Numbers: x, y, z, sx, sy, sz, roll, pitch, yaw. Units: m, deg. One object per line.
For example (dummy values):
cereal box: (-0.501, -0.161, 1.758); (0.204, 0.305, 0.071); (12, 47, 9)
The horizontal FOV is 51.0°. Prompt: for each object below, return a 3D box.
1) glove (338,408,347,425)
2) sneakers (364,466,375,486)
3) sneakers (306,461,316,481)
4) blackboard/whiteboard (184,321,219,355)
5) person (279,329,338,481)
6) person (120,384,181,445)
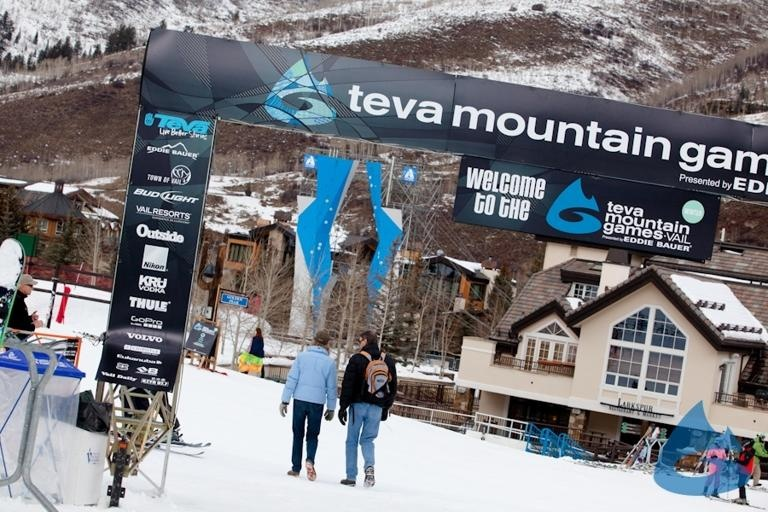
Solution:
glove: (-0.860, 3.297, 16.610); (0.172, 0.305, 0.355); (-1, -9, -5)
sneakers: (-0.328, 4.545, 16.635); (0.169, 0.424, 0.250); (1, -9, -18)
sneakers: (-1.542, 4.489, 16.761); (0.178, 0.385, 0.174); (-12, 2, 19)
blackboard/whiteboard: (-6.447, 2.905, 28.511); (1.103, 1.230, 0.698); (-2, -9, -2)
person: (-1.597, 3.114, 16.903); (1.141, 3.091, 1.074); (-1, -9, -7)
person: (-4.468, 2.977, 15.222); (0.910, 0.816, 1.634); (-5, -9, -2)
